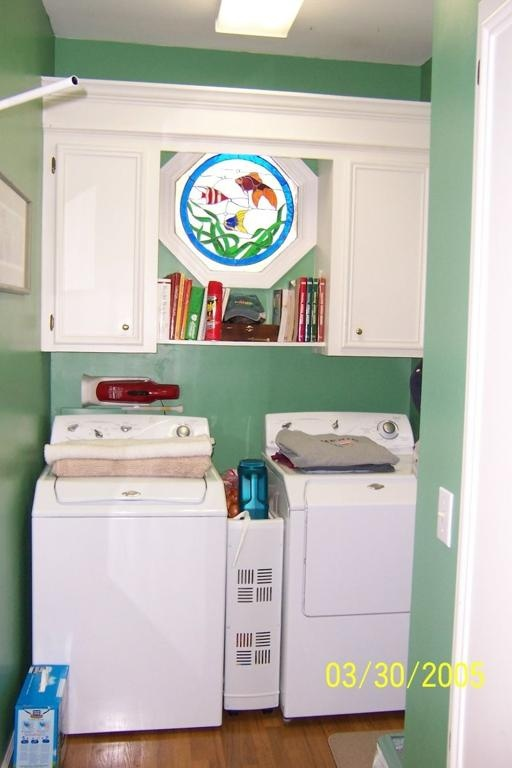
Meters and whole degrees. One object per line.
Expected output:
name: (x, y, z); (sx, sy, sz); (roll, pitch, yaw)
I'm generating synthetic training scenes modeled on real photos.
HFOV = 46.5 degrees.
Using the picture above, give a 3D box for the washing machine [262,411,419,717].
washing machine: (0.292, 0.700, 2.326); (0.618, 1.014, 0.591); (3, -5, -8)

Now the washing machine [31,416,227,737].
washing machine: (-0.453, 0.649, 2.205); (0.657, 0.994, 0.627); (-2, 8, -22)
